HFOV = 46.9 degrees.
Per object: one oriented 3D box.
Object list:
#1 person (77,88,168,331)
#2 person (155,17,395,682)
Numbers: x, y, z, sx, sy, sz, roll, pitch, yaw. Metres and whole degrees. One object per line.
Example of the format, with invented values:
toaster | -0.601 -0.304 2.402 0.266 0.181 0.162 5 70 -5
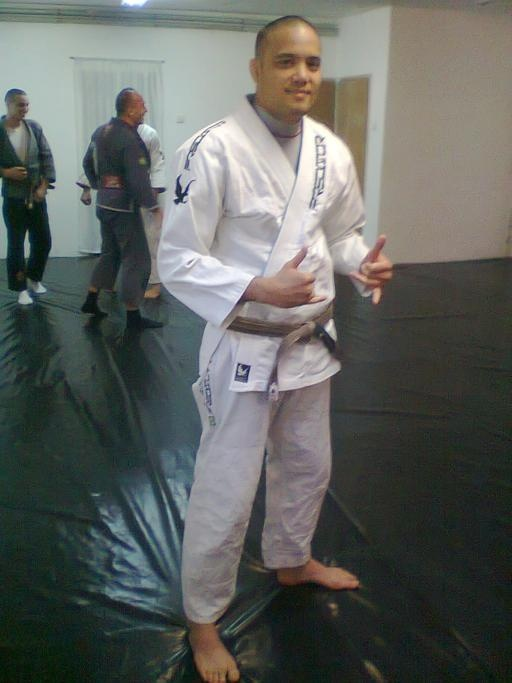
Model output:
person | -0.862 -0.849 3.789 0.482 1.455 0.686 -14 21 -36
person | 0.046 0.033 1.261 0.344 1.323 0.551 13 22 38
